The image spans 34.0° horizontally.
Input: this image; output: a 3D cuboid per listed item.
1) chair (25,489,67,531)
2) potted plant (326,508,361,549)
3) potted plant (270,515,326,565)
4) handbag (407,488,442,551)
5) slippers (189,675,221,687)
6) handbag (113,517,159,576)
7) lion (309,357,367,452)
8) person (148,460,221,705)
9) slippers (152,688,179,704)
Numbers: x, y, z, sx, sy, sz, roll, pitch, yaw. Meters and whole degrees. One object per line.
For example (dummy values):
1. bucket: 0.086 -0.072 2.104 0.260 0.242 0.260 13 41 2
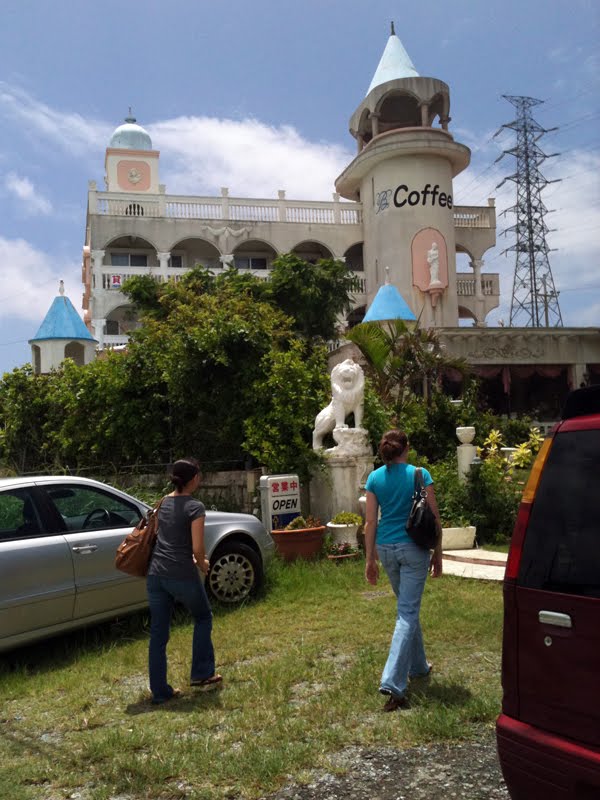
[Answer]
1. chair: -1.837 0.812 7.202 0.163 0.340 0.237 -2 1 22
2. potted plant: 0.530 1.590 12.153 0.474 0.479 0.395 0 -1 27
3. potted plant: 0.014 1.626 11.439 0.419 0.461 0.690 -2 1 32
4. handbag: 0.751 0.741 5.964 0.208 0.323 0.180 -3 1 -1
5. slippers: -0.618 1.876 6.483 0.215 0.060 0.078 -3 8 -11
6. handbag: -1.069 0.999 6.550 0.236 0.376 0.281 -9 -1 -9
7. lion: 0.518 0.091 13.558 0.723 1.139 0.594 -3 1 11
8. person: -0.778 1.157 6.415 0.467 1.471 0.502 -3 1 -5
9. slippers: -0.842 1.895 6.273 0.068 0.091 0.204 0 1 41
